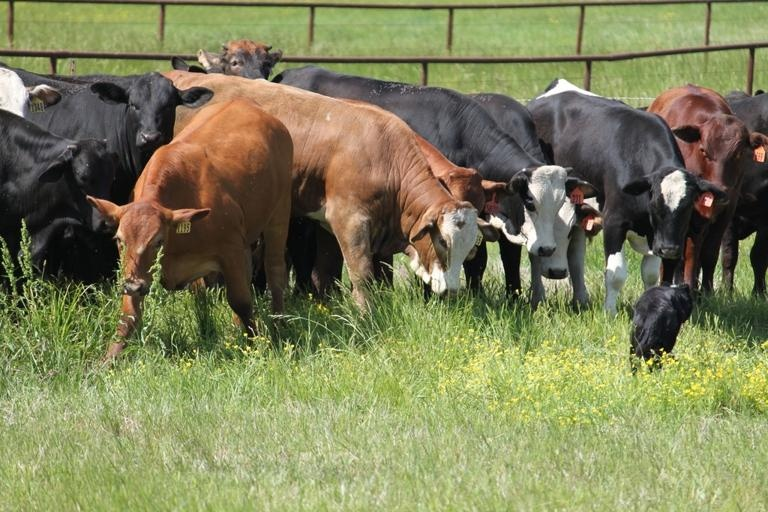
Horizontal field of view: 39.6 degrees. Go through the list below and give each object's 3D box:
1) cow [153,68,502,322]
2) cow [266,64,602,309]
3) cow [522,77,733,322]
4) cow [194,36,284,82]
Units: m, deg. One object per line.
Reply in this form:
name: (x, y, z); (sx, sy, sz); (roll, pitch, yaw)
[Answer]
cow: (-0.915, -0.737, 10.887); (4.494, 2.485, 1.498); (9, 14, 25)
cow: (0.167, -1.136, 12.278); (1.435, 2.149, 4.171); (-9, 14, -43)
cow: (2.695, -0.634, 11.918); (0.934, 2.417, 2.468); (0, 5, -17)
cow: (-2.000, -2.646, 14.523); (0.677, 0.555, 1.008); (-6, 4, -40)
